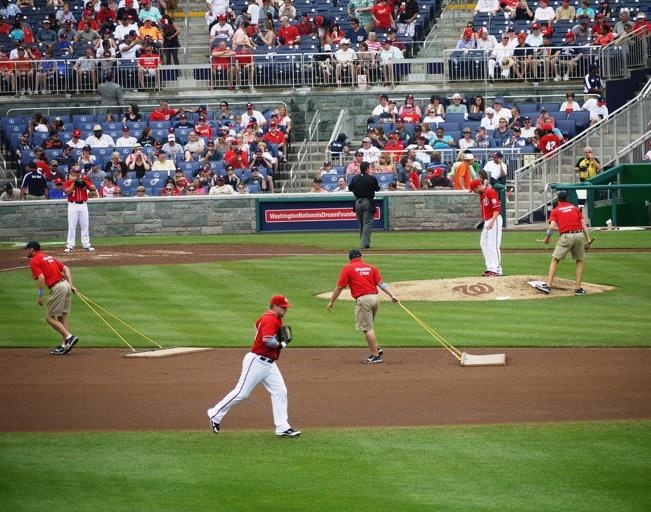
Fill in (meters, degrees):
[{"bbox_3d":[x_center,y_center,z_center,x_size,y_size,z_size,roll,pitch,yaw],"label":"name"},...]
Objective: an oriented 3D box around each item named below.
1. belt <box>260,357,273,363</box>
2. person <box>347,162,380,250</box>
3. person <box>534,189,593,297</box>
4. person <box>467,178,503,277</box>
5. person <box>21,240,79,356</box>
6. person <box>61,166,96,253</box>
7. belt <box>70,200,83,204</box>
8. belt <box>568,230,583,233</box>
[{"bbox_3d":[-1.141,2.042,30.055,0.215,0.108,0.032,-2,8,-17],"label":"belt"},{"bbox_3d":[1.110,-1.437,43.339,0.787,2.558,1.059,0,8,1],"label":"person"},{"bbox_3d":[5.950,-0.372,37.938,1.477,2.606,0.936,1,-5,-10],"label":"person"},{"bbox_3d":[4.105,-0.802,38.938,0.896,2.463,0.874,-4,3,-1],"label":"person"},{"bbox_3d":[-6.168,0.860,34.652,1.205,2.675,1.002,1,5,9],"label":"person"},{"bbox_3d":[-6.931,-1.368,42.854,1.082,2.645,1.115,-1,5,-12],"label":"person"},{"bbox_3d":[-6.863,-1.534,42.407,0.355,0.104,0.131,-2,8,-15],"label":"belt"},{"bbox_3d":[6.136,-0.628,37.562,0.259,0.066,0.037,-1,8,-9],"label":"belt"}]
